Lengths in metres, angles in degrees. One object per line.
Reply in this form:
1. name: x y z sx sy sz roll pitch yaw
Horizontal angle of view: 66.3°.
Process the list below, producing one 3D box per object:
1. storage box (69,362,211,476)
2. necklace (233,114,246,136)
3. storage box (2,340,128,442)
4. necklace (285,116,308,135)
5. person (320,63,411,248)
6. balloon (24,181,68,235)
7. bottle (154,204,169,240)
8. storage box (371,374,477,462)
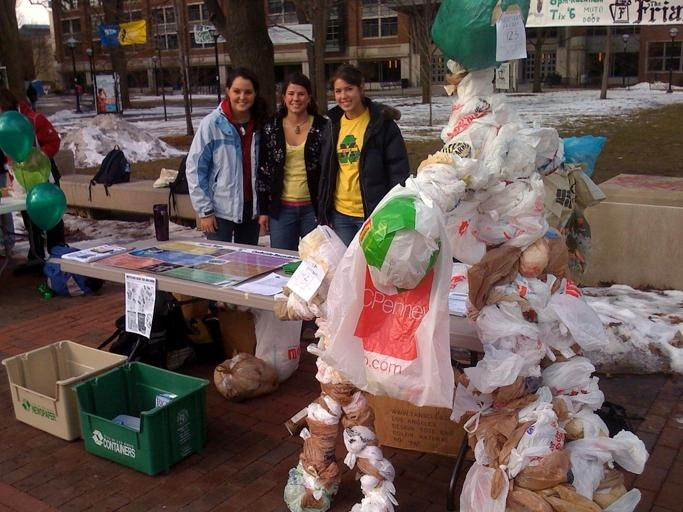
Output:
1. storage box: -1.328 1.080 3.534 0.707 0.453 0.564 7 11 22
2. necklace: -0.966 -1.242 4.941 0.050 0.143 0.103 -6 7 24
3. storage box: -1.982 1.007 4.010 0.662 0.564 0.843 10 15 28
4. necklace: -0.411 -1.180 4.734 0.191 0.139 0.060 0 16 10
5. person: 0.169 -0.812 4.461 0.786 1.545 0.436 -2 17 4
6. balloon: -3.169 -0.513 5.707 0.471 0.639 0.486 2 5 -8
7. bottle: -1.613 -0.306 4.682 0.135 0.340 0.239 -9 19 -19
8. storage box: 0.548 1.037 3.464 0.660 0.383 0.456 3 0 28
